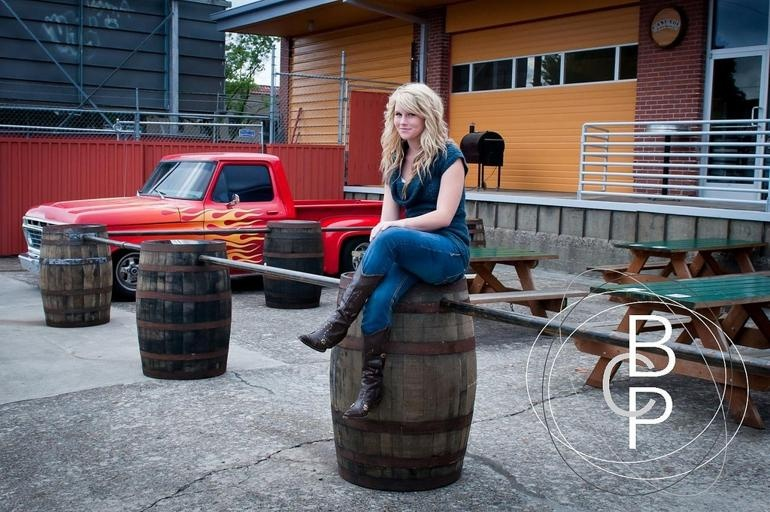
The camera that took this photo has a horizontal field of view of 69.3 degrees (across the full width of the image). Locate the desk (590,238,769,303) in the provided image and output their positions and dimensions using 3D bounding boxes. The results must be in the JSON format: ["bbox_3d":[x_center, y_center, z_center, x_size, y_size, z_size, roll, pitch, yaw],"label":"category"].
[{"bbox_3d":[4.349,0.052,8.912,2.424,0.475,1.586,-2,3,-30],"label":"desk"}]

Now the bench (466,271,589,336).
[{"bbox_3d":[1.794,0.540,7.185,0.930,0.388,1.787,-4,6,-28],"label":"bench"}]

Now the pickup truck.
[{"bbox_3d":[-3.033,-0.586,10.512,6.301,1.816,3.003,-1,5,-23],"label":"pickup truck"}]

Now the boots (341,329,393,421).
[{"bbox_3d":[-0.104,0.741,3.492,0.226,0.565,0.186,3,10,9],"label":"boots"}]

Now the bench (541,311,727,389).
[{"bbox_3d":[2.018,0.783,4.457,0.562,0.260,1.385,4,4,44],"label":"bench"}]
